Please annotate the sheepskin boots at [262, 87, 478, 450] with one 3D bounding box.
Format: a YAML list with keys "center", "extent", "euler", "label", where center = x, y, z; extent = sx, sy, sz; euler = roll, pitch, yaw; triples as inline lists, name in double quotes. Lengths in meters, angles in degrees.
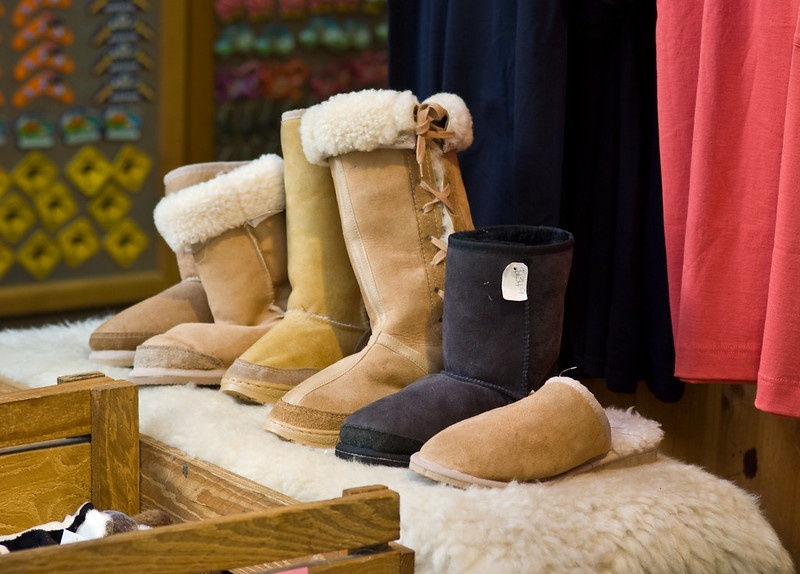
- center: [-0.031, -0.038, 1.484]
  extent: [0.492, 0.584, 0.306]
  euler: [-6, 3, -40]
  label: "sheepskin boots"

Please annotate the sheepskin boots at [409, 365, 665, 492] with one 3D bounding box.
- center: [0.204, 0.197, 1.240]
  extent: [0.362, 0.124, 0.121]
  euler: [-7, 8, -23]
  label: "sheepskin boots"

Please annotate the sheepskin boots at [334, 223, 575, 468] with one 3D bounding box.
- center: [0.089, 0.087, 1.303]
  extent: [0.376, 0.339, 0.178]
  euler: [-8, 16, -21]
  label: "sheepskin boots"

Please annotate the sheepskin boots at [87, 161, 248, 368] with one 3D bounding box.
- center: [-0.443, -0.009, 1.747]
  extent: [0.382, 0.366, 0.162]
  euler: [10, 6, -25]
  label: "sheepskin boots"
